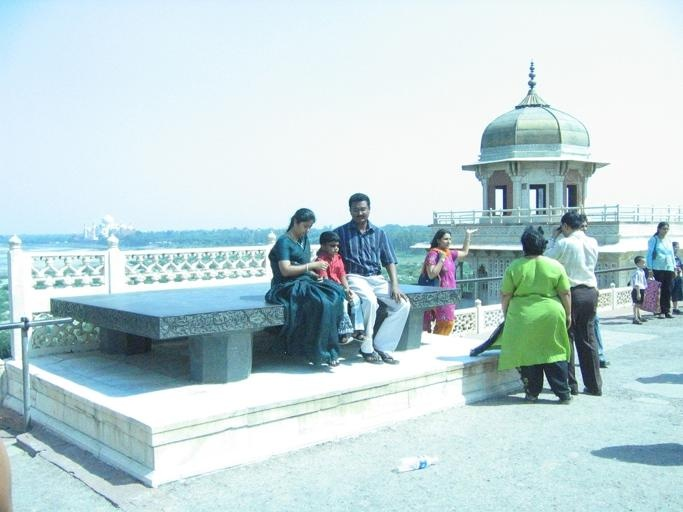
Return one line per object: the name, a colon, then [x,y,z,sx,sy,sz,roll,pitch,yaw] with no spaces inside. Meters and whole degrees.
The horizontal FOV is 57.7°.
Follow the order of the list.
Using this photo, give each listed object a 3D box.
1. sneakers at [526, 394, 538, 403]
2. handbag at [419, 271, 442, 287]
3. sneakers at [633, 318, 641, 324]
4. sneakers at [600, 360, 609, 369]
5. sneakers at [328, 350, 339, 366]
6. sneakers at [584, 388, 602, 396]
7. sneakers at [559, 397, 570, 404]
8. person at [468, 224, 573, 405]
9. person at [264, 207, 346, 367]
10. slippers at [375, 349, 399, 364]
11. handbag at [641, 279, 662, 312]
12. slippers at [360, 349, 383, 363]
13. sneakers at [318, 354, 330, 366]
sneakers: [1.993,1.504,6.513,0.061,0.108,0.114,2,-10,-27]
handbag: [1.148,0.335,8.155,0.171,0.320,0.310,2,-3,-28]
sneakers: [5.577,1.248,11.686,0.064,0.071,0.173,-1,-4,-10]
sneakers: [3.358,1.377,7.896,0.079,0.093,0.241,-4,-12,16]
sneakers: [-0.105,1.049,6.311,0.059,0.155,0.113,-14,-7,35]
sneakers: [2.733,1.465,6.745,0.063,0.077,0.185,-5,6,-22]
sneakers: [2.291,1.487,6.353,0.111,0.046,0.052,-5,4,31]
person: [1.984,0.625,6.374,0.704,1.806,0.322,0,6,17]
person: [-0.424,0.322,6.363,0.685,1.579,0.721,-6,7,-39]
slippers: [0.492,1.080,6.641,0.248,0.074,0.103,16,12,29]
handbag: [5.879,0.735,11.773,0.233,0.606,0.550,-11,14,-23]
slippers: [0.325,1.076,6.621,0.269,0.119,0.100,-1,1,43]
sneakers: [-0.175,1.054,6.277,0.127,0.145,0.146,-1,-9,4]
